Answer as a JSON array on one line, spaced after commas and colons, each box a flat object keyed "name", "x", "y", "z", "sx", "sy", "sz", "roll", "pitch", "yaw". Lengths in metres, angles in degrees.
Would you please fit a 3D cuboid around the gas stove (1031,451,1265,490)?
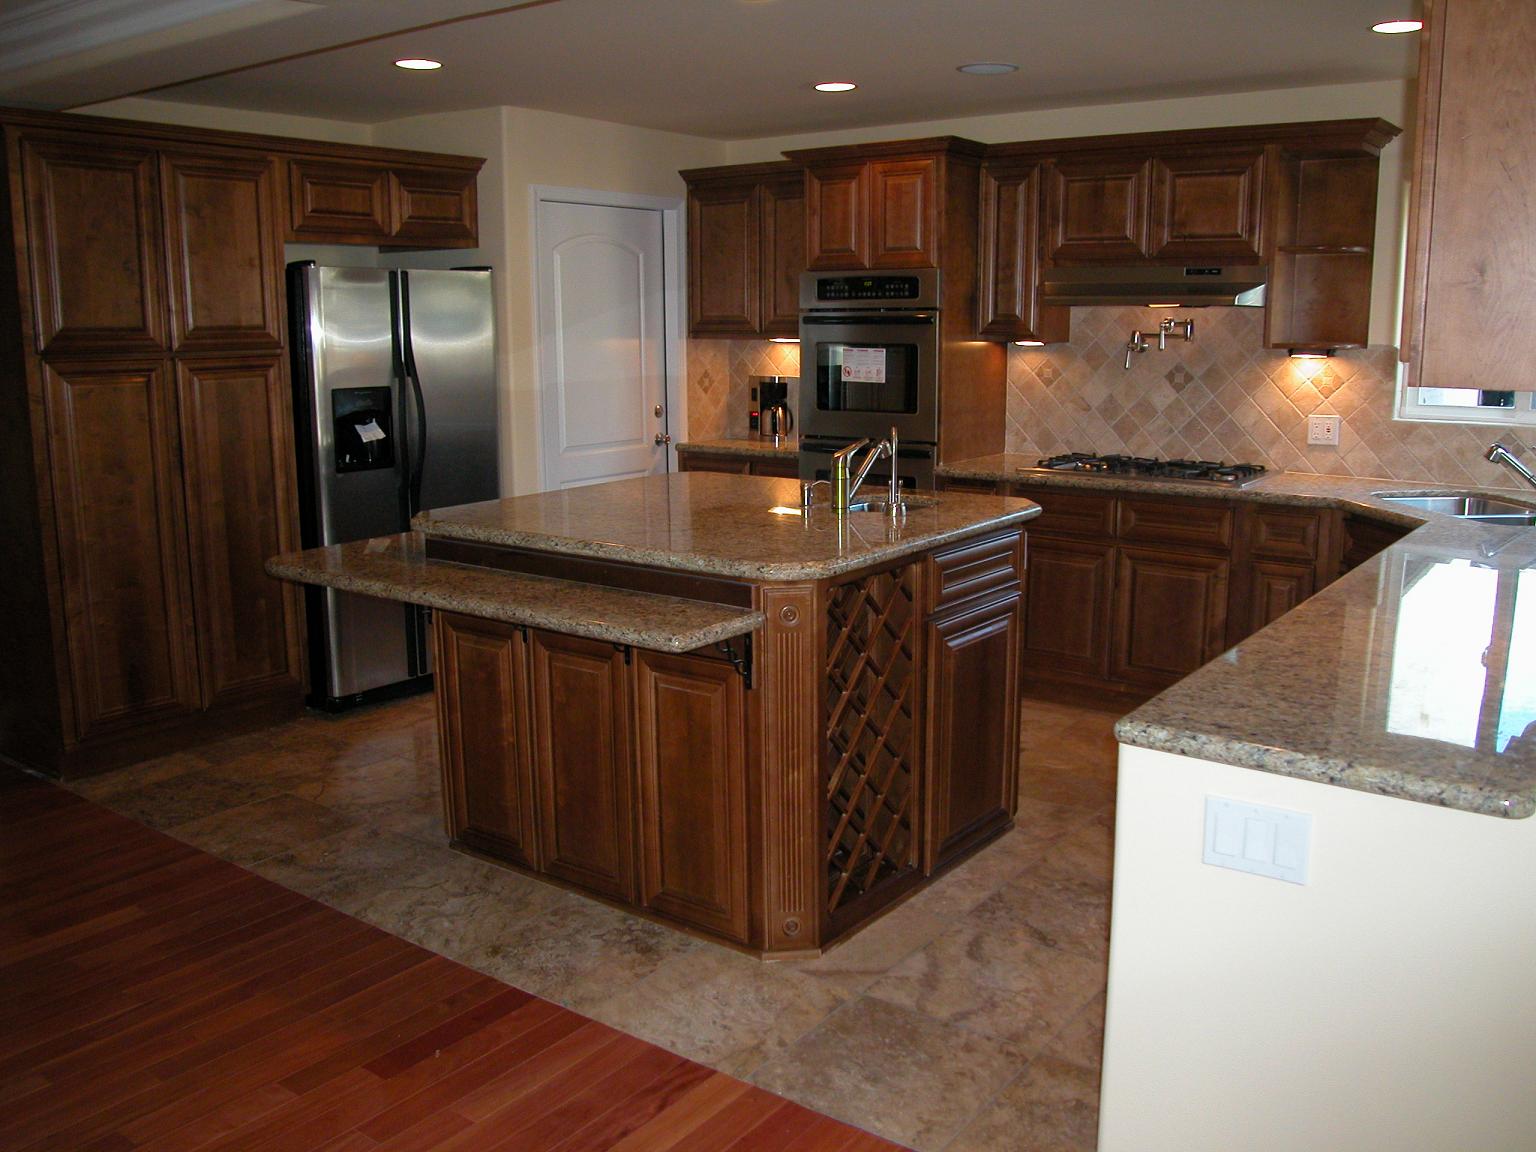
[{"name": "gas stove", "x": 1.806, "y": -0.515, "z": 5.518, "sx": 0.986, "sy": 0.064, "sz": 0.571, "roll": 6, "pitch": 15, "yaw": 32}]

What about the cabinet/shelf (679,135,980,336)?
[{"name": "cabinet/shelf", "x": 0.363, "y": -1.783, "z": 6.041, "sx": 1.463, "sy": 0.686, "sz": 0.370, "roll": 7, "pitch": 12, "yaw": 35}]

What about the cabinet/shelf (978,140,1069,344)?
[{"name": "cabinet/shelf", "x": 1.172, "y": -1.743, "z": 5.991, "sx": 0.385, "sy": 0.970, "sz": 0.470, "roll": 23, "pitch": 34, "yaw": 12}]

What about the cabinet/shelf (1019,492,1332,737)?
[{"name": "cabinet/shelf", "x": 1.602, "y": 0.090, "z": 4.503, "sx": 1.166, "sy": 0.768, "sz": 0.439, "roll": 5, "pitch": 10, "yaw": 32}]

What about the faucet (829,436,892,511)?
[{"name": "faucet", "x": 0.398, "y": -0.411, "z": 4.388, "sx": 0.097, "sy": 0.206, "sz": 0.428, "roll": -2, "pitch": -6, "yaw": -30}]

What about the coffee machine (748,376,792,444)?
[{"name": "coffee machine", "x": -0.013, "y": -1.001, "z": 6.831, "sx": 0.323, "sy": 0.359, "sz": 0.273, "roll": 3, "pitch": 15, "yaw": 21}]

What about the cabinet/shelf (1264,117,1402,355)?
[{"name": "cabinet/shelf", "x": 2.491, "y": -1.531, "z": 5.256, "sx": 0.607, "sy": 0.939, "sz": 0.366, "roll": 12, "pitch": 23, "yaw": 40}]

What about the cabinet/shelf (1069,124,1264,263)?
[{"name": "cabinet/shelf", "x": 1.782, "y": -1.751, "z": 5.580, "sx": 1.115, "sy": 0.571, "sz": 0.565, "roll": -2, "pitch": 8, "yaw": 0}]
